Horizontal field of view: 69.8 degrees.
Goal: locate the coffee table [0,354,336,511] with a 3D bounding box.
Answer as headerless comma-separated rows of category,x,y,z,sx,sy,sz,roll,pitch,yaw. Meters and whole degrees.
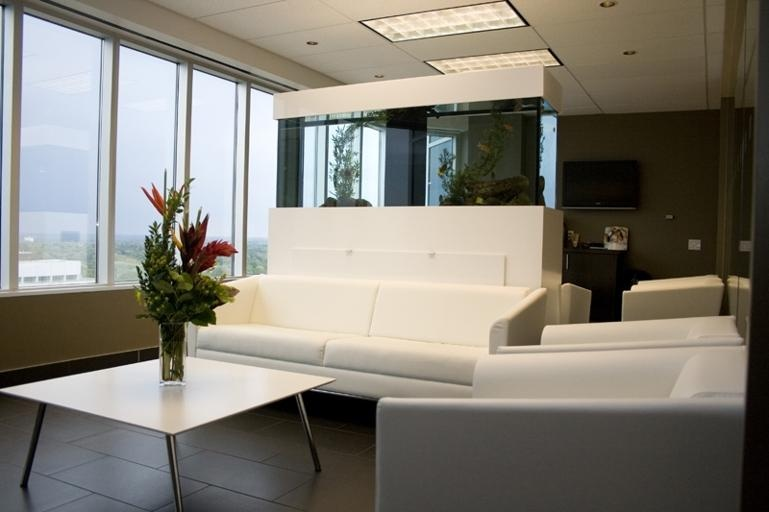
coffee table,-1.205,0.820,3.331,1.164,0.521,1.247,1,-5,29

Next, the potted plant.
potted plant,-1.274,0.129,3.438,0.598,1.201,0.537,0,3,-20

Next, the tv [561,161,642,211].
tv,3.580,-1.141,8.979,1.113,0.773,0.150,2,1,25

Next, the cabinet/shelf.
cabinet/shelf,3.235,0.257,8.755,0.944,1.260,0.718,5,34,28
